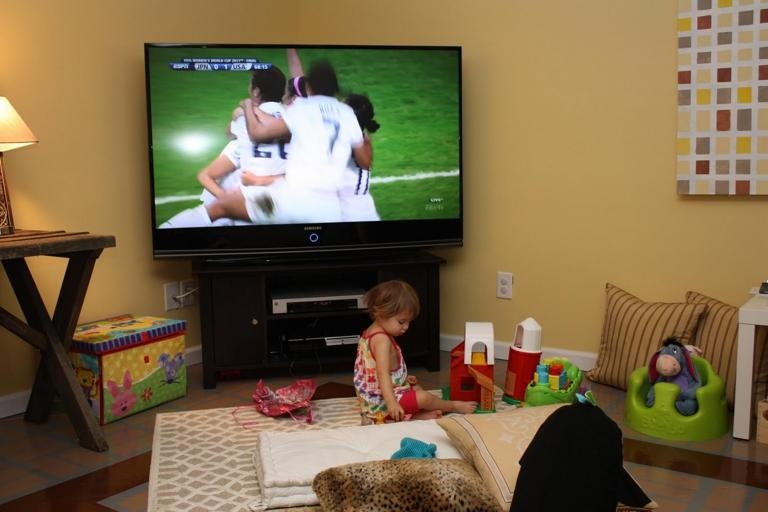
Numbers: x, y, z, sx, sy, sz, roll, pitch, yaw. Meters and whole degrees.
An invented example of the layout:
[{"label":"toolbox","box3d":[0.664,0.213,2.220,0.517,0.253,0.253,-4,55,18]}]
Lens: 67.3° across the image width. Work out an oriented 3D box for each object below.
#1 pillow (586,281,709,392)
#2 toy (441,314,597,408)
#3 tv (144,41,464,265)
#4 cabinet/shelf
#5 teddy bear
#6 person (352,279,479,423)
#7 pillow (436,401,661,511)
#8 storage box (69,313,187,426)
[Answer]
[{"label":"pillow","box3d":[1.352,0.405,2.907,0.197,0.480,0.513,21,-10,-39]},{"label":"toy","box3d":[0.630,0.490,2.845,0.598,0.369,0.404,2,1,9]},{"label":"tv","box3d":[-0.512,-0.601,3.232,1.280,0.833,0.023,-1,0,-7]},{"label":"cabinet/shelf","box3d":[-0.385,0.307,3.450,1.360,0.699,0.469,-2,11,-10]},{"label":"teddy bear","box3d":[1.332,0.549,2.654,0.239,0.323,0.250,-3,-3,17]},{"label":"person","box3d":[0.137,0.474,2.760,0.554,0.712,0.421,1,13,14]},{"label":"pillow","box3d":[0.447,0.569,1.623,0.470,0.141,0.468,-2,23,-11]},{"label":"storage box","box3d":[-1.345,0.477,2.964,0.438,0.436,0.585,4,8,32]}]
